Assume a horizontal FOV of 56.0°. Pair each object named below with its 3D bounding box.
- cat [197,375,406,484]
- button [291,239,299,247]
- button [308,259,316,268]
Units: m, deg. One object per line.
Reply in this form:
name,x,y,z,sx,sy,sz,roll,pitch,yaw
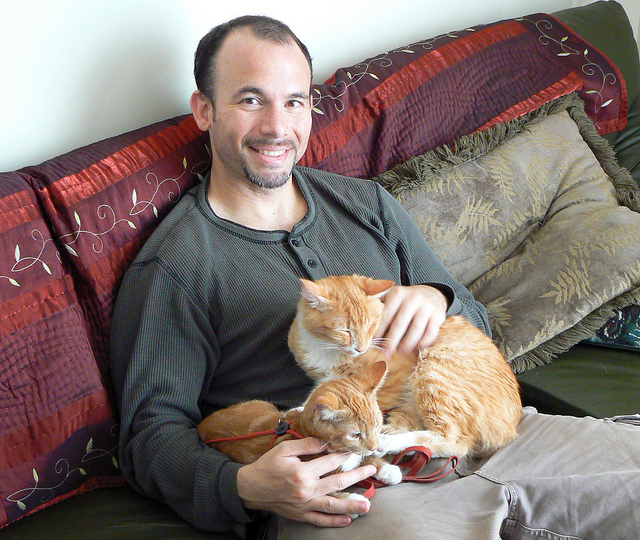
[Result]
cat,-0.055,0.381,1.421,0.516,0.222,0.206,-5,4,41
button,-0.070,-0.074,1.615,0.020,0.006,0.018,12,47,-32
button,-0.023,-0.017,1.602,0.021,0.015,0.019,-2,31,-6
